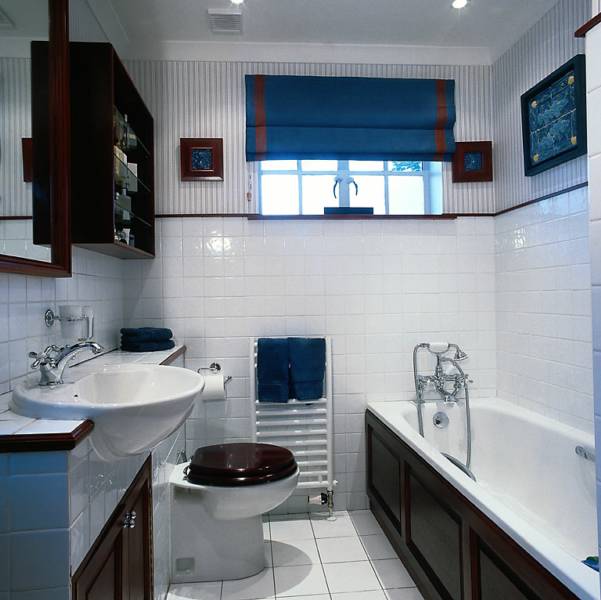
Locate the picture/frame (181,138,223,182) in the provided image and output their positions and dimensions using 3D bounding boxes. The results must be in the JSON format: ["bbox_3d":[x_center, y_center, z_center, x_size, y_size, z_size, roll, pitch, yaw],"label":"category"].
[{"bbox_3d":[-0.559,-0.776,2.825,0.178,0.241,0.022,0,0,-9],"label":"picture/frame"}]

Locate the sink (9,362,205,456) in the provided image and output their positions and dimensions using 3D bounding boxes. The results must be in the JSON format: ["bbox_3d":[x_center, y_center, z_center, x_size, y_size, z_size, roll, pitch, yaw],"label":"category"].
[{"bbox_3d":[-0.523,0.297,1.366,0.238,0.143,0.311,0,7,-5],"label":"sink"}]

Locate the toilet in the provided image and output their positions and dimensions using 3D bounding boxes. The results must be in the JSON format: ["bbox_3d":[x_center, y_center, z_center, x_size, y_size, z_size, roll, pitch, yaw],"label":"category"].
[{"bbox_3d":[-0.308,0.941,2.420,0.549,0.623,0.596,3,12,6],"label":"toilet"}]

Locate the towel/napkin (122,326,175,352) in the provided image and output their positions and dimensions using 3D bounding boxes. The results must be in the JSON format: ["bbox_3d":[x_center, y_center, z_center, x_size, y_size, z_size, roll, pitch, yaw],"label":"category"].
[{"bbox_3d":[-0.771,0.196,2.552,0.259,0.117,0.192,-3,4,-23],"label":"towel/napkin"}]

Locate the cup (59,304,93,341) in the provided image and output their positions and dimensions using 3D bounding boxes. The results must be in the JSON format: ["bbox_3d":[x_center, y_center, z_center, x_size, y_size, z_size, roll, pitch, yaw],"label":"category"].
[{"bbox_3d":[-0.739,0.072,1.672,0.086,0.133,0.110,0,0,-13],"label":"cup"}]

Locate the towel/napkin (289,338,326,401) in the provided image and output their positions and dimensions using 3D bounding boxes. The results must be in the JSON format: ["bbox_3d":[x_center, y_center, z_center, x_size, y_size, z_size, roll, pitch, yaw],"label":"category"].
[{"bbox_3d":[0.038,0.356,2.754,0.188,0.336,0.074,-1,0,-10],"label":"towel/napkin"}]

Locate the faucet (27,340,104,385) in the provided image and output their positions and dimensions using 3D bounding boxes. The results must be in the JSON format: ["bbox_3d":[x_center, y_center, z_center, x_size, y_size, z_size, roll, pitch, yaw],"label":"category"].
[{"bbox_3d":[-0.766,0.201,1.634,0.251,0.170,0.083,-13,-6,20],"label":"faucet"}]

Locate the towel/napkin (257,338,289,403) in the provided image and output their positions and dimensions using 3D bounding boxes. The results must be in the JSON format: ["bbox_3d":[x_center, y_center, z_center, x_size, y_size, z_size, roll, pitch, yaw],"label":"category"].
[{"bbox_3d":[-0.149,0.379,2.734,0.176,0.338,0.067,-1,2,-3],"label":"towel/napkin"}]
